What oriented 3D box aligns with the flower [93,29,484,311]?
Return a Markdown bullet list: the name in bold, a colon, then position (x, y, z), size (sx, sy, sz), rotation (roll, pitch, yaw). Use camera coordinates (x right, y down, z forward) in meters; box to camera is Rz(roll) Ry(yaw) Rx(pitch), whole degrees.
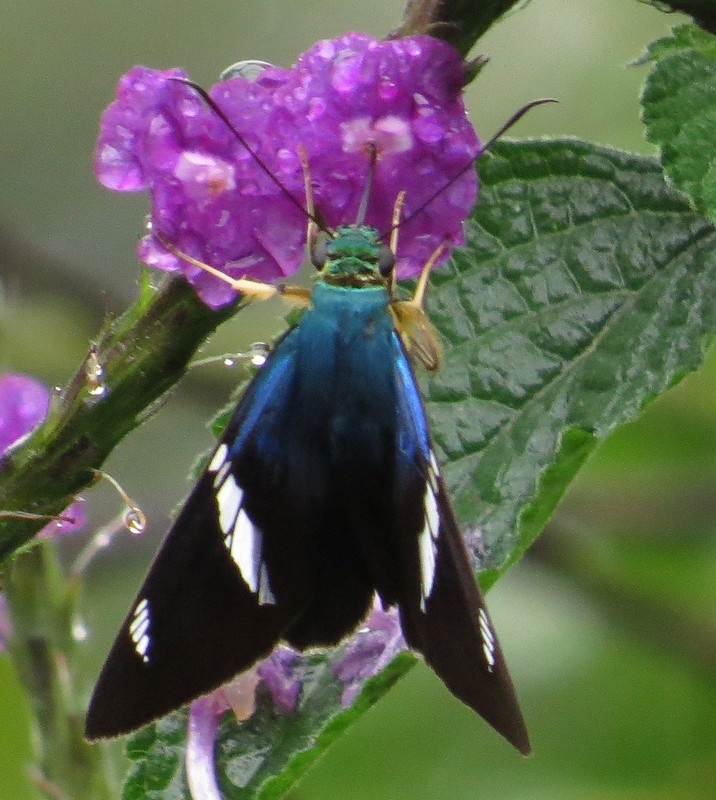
- **flower**: position (-0.067, -0.301, 1.631), size (0.474, 0.283, 0.291), rotation (-23, -26, 7)
